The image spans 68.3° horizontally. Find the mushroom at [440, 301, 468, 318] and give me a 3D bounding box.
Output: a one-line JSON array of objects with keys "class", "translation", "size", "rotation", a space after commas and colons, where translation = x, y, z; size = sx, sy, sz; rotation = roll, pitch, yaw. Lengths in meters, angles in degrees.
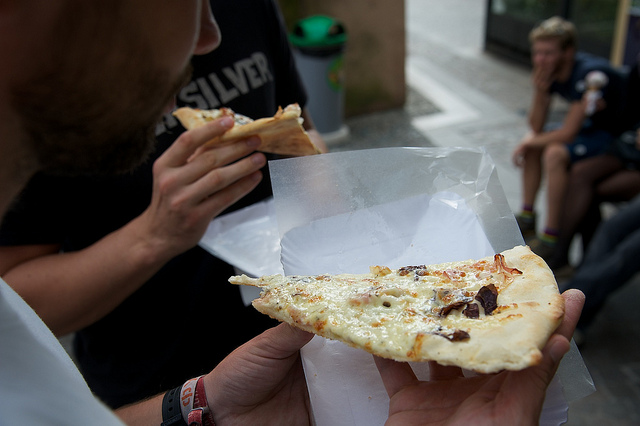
[{"class": "mushroom", "translation": [0.448, 0.324, 1.597], "size": [0.063, 0.016, 0.061], "rotation": [-17, 0, -9]}]

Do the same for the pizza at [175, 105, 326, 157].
[{"class": "pizza", "translation": [-0.286, -0.431, 2.327], "size": [0.444, 0.156, 0.423], "rotation": [-13, 36, -35]}]

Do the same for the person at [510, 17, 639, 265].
[{"class": "person", "translation": [1.583, -0.424, 2.879], "size": [0.775, 1.252, 0.434], "rotation": [-22, 51, 19]}]

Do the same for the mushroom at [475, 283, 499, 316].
[{"class": "mushroom", "translation": [0.562, 0.297, 1.606], "size": [0.096, 0.041, 0.153], "rotation": [-5, 19, 24]}]

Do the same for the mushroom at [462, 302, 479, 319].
[{"class": "mushroom", "translation": [0.504, 0.330, 1.586], "size": [0.046, 0.017, 0.044], "rotation": [6, 62, 25]}]

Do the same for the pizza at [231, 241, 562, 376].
[{"class": "pizza", "translation": [0.300, 0.336, 1.633], "size": [0.898, 0.150, 0.578], "rotation": [0, 23, 8]}]
